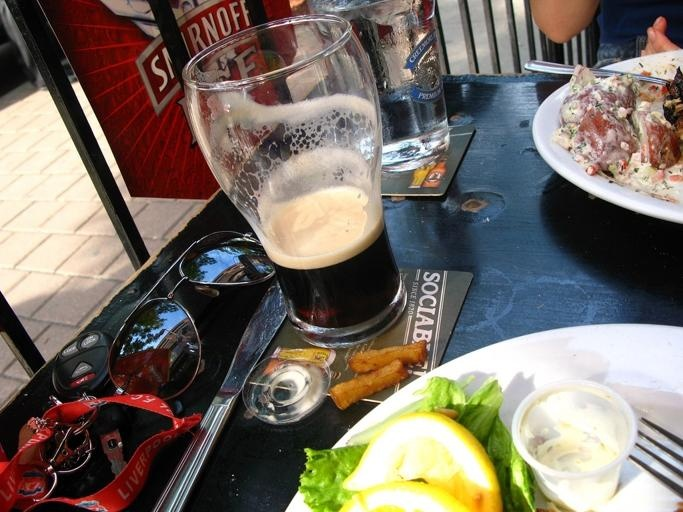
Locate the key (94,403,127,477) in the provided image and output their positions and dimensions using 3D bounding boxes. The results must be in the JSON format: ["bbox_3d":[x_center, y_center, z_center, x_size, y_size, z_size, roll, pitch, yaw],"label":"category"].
[{"bbox_3d":[-0.247,0.193,0.516,0.029,0.007,0.097,-29,41,-18],"label":"key"}]
